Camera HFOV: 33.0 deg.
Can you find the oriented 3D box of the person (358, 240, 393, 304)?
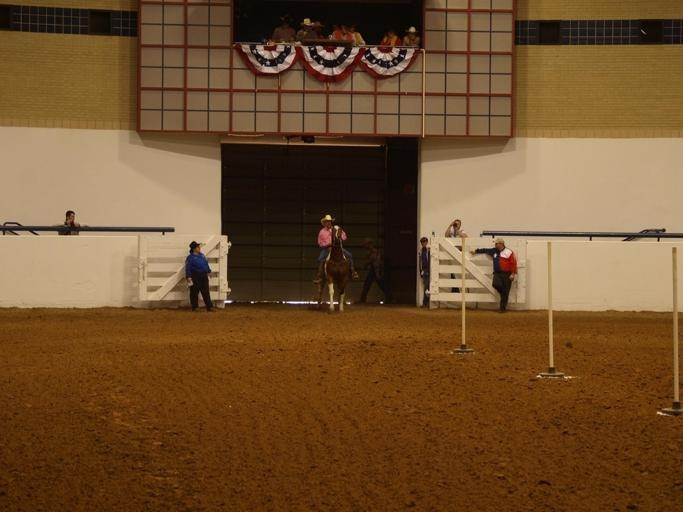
[{"bbox_3d":[1.084,0.523,37.987,0.913,2.092,1.498,1,3,1],"label":"person"}]

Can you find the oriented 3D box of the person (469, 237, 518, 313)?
[{"bbox_3d":[4.600,0.561,33.664,1.020,2.086,0.628,2,3,16],"label":"person"}]

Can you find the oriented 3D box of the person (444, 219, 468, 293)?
[{"bbox_3d":[3.463,-0.013,34.888,0.624,2.144,1.280,1,3,5],"label":"person"}]

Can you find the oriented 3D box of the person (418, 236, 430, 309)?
[{"bbox_3d":[2.528,0.515,34.897,0.323,2.113,1.106,1,3,4],"label":"person"}]

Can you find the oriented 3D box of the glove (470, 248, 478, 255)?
[{"bbox_3d":[3.907,-0.119,33.968,0.175,0.118,0.174,-8,3,-10],"label":"glove"}]

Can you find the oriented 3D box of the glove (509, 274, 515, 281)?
[{"bbox_3d":[4.978,0.619,33.508,0.199,0.194,0.143,0,-1,25],"label":"glove"}]

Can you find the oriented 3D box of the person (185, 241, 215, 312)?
[{"bbox_3d":[-4.058,0.585,33.053,0.735,1.927,0.370,0,3,-10],"label":"person"}]

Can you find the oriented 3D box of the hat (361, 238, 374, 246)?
[{"bbox_3d":[0.884,-0.397,37.716,0.246,0.268,0.213,20,17,37],"label":"hat"}]

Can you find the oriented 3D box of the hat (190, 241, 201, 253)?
[{"bbox_3d":[-4.157,-0.210,32.942,0.319,0.125,0.273,-37,-3,13],"label":"hat"}]

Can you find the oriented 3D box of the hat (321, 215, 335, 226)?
[{"bbox_3d":[-0.414,-1.092,34.234,0.333,0.149,0.380,4,-17,-11],"label":"hat"}]
